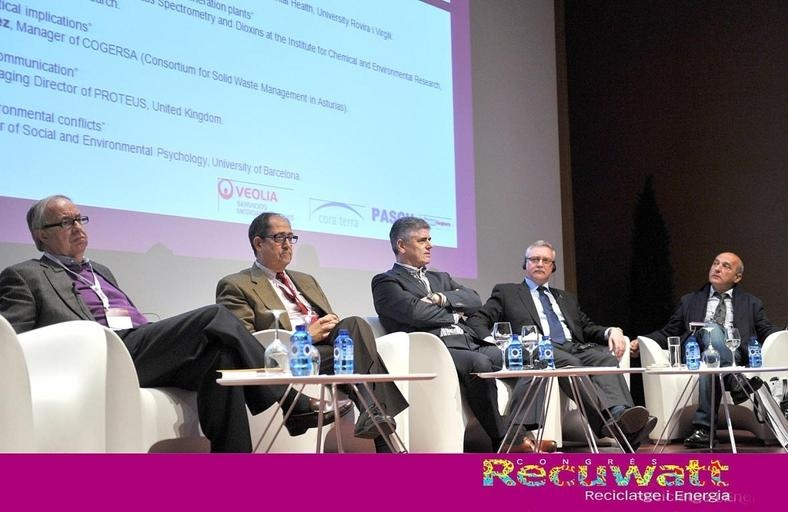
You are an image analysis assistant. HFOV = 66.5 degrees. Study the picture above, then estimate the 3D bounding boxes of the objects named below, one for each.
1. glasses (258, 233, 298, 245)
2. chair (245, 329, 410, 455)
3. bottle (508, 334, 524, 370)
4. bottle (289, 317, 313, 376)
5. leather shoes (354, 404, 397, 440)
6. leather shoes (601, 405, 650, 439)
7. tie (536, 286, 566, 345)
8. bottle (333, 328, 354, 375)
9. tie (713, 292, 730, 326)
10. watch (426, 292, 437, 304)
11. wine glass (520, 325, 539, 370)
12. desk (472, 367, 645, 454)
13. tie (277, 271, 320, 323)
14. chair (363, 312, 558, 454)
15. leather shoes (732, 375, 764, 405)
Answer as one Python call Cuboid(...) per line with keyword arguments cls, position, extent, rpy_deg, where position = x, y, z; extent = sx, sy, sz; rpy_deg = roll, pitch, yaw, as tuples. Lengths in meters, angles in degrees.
Cuboid(cls="glasses", position=(-0.742, -0.108, 3.821), extent=(0.113, 0.033, 0.113), rpy_deg=(-10, -11, 42))
Cuboid(cls="chair", position=(-0.249, 0.677, 3.116), extent=(0.708, 0.748, 0.866), rpy_deg=(10, -29, -18))
Cuboid(cls="bottle", position=(0.666, 0.539, 3.299), extent=(0.077, 0.184, 0.119), rpy_deg=(-3, -1, 7))
Cuboid(cls="bottle", position=(-0.404, 0.408, 2.572), extent=(0.099, 0.199, 0.143), rpy_deg=(-3, -1, -10))
Cuboid(cls="leather shoes", position=(-0.039, 0.831, 2.984), extent=(0.297, 0.129, 0.134), rpy_deg=(2, -15, -35))
Cuboid(cls="leather shoes", position=(1.382, 0.996, 3.577), extent=(0.287, 0.123, 0.194), rpy_deg=(24, 5, -17))
Cuboid(cls="tie", position=(1.184, 0.458, 4.514), extent=(0.116, 0.417, 0.102), rpy_deg=(-11, -33, -8))
Cuboid(cls="bottle", position=(-0.222, 0.425, 2.597), extent=(0.080, 0.182, 0.228), rpy_deg=(-3, -1, -6))
Cuboid(cls="tie", position=(2.609, 0.426, 4.788), extent=(0.105, 0.279, 0.163), rpy_deg=(-4, -1, 36))
Cuboid(cls="watch", position=(0.267, 0.290, 4.069), extent=(0.047, 0.059, 0.023), rpy_deg=(-2, -12, 11))
Cuboid(cls="wine glass", position=(0.795, 0.530, 3.495), extent=(0.094, 0.241, 0.522), rpy_deg=(-4, -1, 13))
Cuboid(cls="desk", position=(1.027, 0.921, 3.453), extent=(0.745, 0.565, 1.147), rpy_deg=(-4, -1, 21))
Cuboid(cls="tie", position=(-0.610, 0.273, 3.756), extent=(0.090, 0.307, 0.085), rpy_deg=(-32, 7, 46))
Cuboid(cls="chair", position=(0.350, 0.810, 3.871), extent=(0.893, 1.117, 0.968), rpy_deg=(18, -29, -40))
Cuboid(cls="leather shoes", position=(2.429, 0.921, 4.139), extent=(0.083, 0.094, 0.240), rpy_deg=(18, -37, -4))
